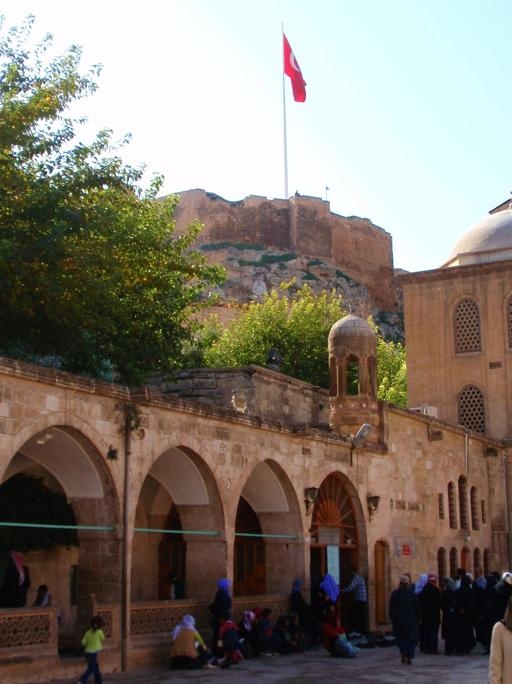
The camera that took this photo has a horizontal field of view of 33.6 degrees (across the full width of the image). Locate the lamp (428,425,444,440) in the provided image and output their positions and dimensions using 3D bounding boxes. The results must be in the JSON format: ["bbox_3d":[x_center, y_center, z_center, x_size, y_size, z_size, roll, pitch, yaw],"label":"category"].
[{"bbox_3d":[3.991,2.035,18.850,0.281,0.349,0.425,-7,-14,22],"label":"lamp"}]

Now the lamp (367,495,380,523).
[{"bbox_3d":[2.141,3.044,15.461,0.159,0.460,0.429,-6,-13,21],"label":"lamp"}]

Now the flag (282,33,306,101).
[{"bbox_3d":[1.992,-13.941,44.598,1.087,4.552,3.019,-2,-12,2],"label":"flag"}]

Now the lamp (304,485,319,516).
[{"bbox_3d":[0.866,2.517,13.415,0.155,0.417,0.326,-6,-13,19],"label":"lamp"}]
